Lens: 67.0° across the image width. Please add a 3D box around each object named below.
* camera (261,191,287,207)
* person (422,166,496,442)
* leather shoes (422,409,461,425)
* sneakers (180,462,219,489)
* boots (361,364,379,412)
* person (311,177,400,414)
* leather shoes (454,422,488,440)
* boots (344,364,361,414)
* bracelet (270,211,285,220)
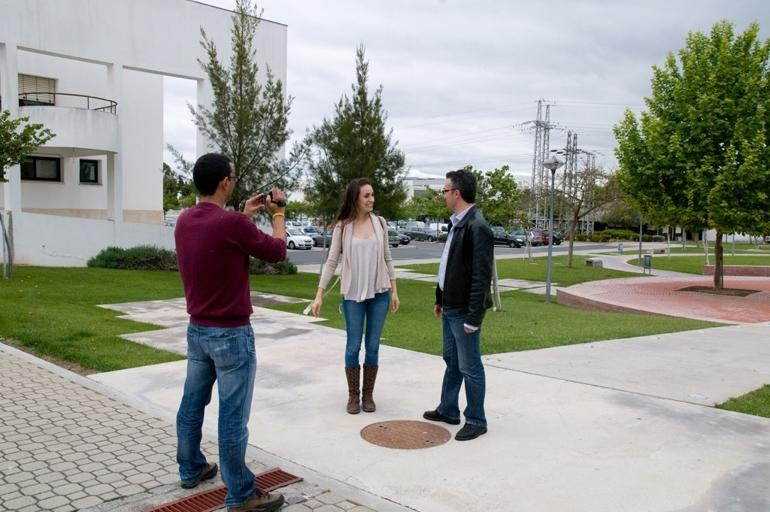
[{"bbox_3d":[-0.980,-0.488,5.125,0.181,0.077,0.131,8,5,-45],"label":"camera"},{"bbox_3d":[0.811,0.473,6.170,0.647,2.755,0.968,-1,12,-8],"label":"person"},{"bbox_3d":[0.635,1.755,6.451,0.401,0.181,0.160,12,-4,9],"label":"leather shoes"},{"bbox_3d":[-1.692,2.015,5.310,0.120,0.139,0.321,12,21,31],"label":"sneakers"},{"bbox_3d":[-0.183,1.485,6.677,0.167,0.478,0.409,1,11,0],"label":"boots"},{"bbox_3d":[-0.325,0.421,6.685,0.765,2.564,0.849,7,13,28],"label":"person"},{"bbox_3d":[0.888,1.814,6.032,0.361,0.155,0.129,1,-3,-23],"label":"leather shoes"},{"bbox_3d":[-0.354,1.500,6.591,0.163,0.476,0.347,0,11,-4],"label":"boots"},{"bbox_3d":[-0.962,-0.358,5.158,0.086,0.082,0.082,0,6,3],"label":"bracelet"}]
